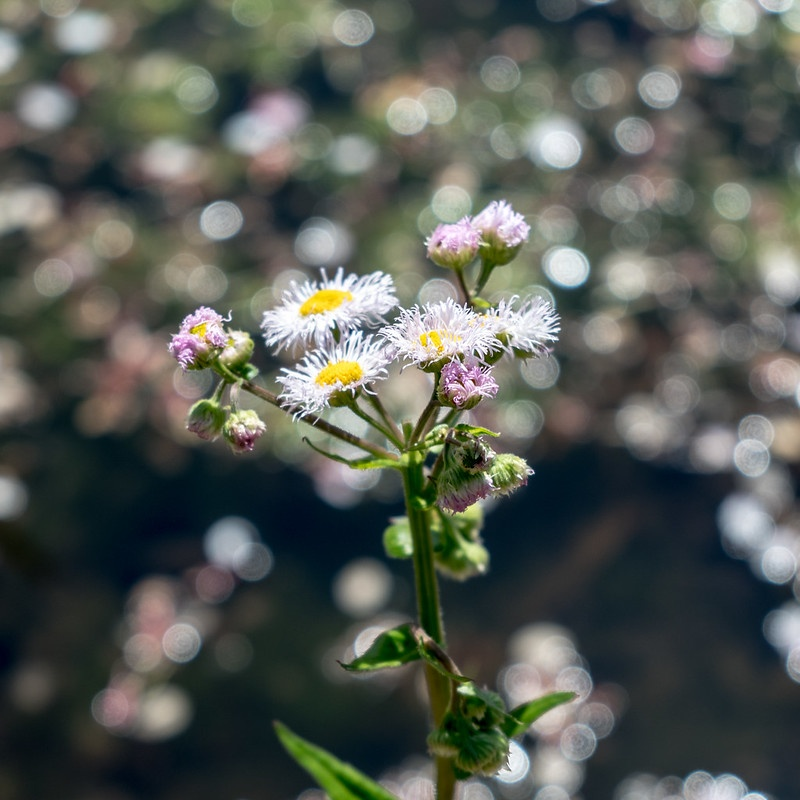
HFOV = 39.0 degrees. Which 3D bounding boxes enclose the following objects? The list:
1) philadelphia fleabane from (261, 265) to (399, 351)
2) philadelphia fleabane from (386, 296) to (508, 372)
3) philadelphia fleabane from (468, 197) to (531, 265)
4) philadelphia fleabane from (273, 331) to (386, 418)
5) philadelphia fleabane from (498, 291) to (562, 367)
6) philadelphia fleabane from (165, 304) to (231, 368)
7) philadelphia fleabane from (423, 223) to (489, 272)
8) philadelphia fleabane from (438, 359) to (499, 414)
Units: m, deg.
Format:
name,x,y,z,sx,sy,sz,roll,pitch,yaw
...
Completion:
name,x,y,z,sx,sy,sz,roll,pitch,yaw
philadelphia fleabane,-0.076,-0.116,1.498,0.152,0.132,0.047,-25,111,-21
philadelphia fleabane,0.051,-0.080,1.412,0.125,0.042,0.103,15,44,7
philadelphia fleabane,0.130,-0.225,1.545,0.095,0.088,0.078,3,75,-9
philadelphia fleabane,-0.077,-0.039,1.458,0.130,0.100,0.048,-15,47,18
philadelphia fleabane,0.164,-0.102,1.466,0.081,0.071,0.066,13,63,20
philadelphia fleabane,-0.257,-0.075,1.444,0.080,0.043,0.074,-11,71,20
philadelphia fleabane,0.071,-0.203,1.483,0.081,0.071,0.061,-4,92,-1
philadelphia fleabane,0.074,-0.018,1.433,0.092,0.045,0.081,-11,23,-30
